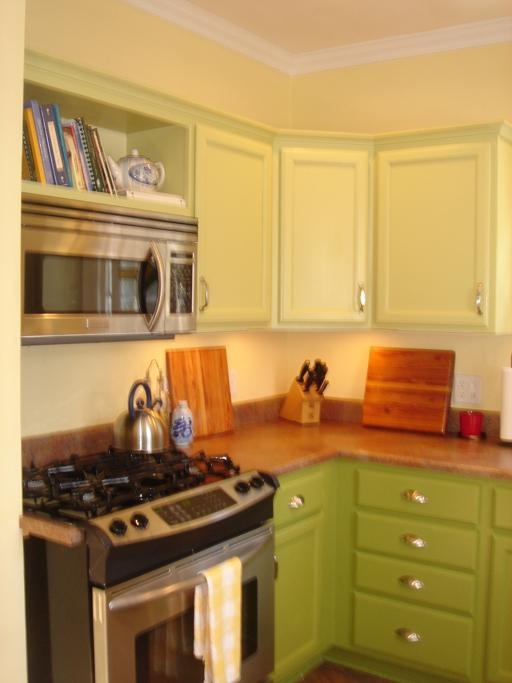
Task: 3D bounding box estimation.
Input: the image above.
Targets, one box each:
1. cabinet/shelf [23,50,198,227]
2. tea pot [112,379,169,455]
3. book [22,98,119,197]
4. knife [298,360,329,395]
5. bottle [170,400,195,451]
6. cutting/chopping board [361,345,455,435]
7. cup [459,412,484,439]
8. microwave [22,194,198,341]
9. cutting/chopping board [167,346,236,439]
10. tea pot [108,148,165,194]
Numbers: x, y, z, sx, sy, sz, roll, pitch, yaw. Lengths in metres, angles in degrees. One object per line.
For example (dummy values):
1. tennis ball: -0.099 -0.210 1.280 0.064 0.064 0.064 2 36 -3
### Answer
1. cabinet/shelf: -0.506 -0.636 1.845 0.201 0.392 0.640 2 8 33
2. tea pot: -0.409 0.264 1.974 0.234 0.270 0.233 1 2 0
3. book: -0.564 -0.565 1.565 0.071 0.230 0.335 3 7 28
4. knife: 0.309 0.193 2.920 0.181 0.206 0.169 3 3 31
5. bottle: -0.328 0.360 2.311 0.104 0.196 0.204 -1 6 -8
6. cutting/chopping board: 0.764 0.251 2.680 0.421 0.410 0.165 4 7 34
7. cup: 1.031 0.400 2.506 0.114 0.136 0.115 1 -1 0
8. microwave: -0.431 -0.214 1.710 0.141 0.428 0.737 2 7 25
9. cutting/chopping board: -0.270 0.250 2.466 0.046 0.480 0.402 -13 -10 35
10. tea pot: -0.415 -0.579 1.886 0.141 0.144 0.217 0 1 39
